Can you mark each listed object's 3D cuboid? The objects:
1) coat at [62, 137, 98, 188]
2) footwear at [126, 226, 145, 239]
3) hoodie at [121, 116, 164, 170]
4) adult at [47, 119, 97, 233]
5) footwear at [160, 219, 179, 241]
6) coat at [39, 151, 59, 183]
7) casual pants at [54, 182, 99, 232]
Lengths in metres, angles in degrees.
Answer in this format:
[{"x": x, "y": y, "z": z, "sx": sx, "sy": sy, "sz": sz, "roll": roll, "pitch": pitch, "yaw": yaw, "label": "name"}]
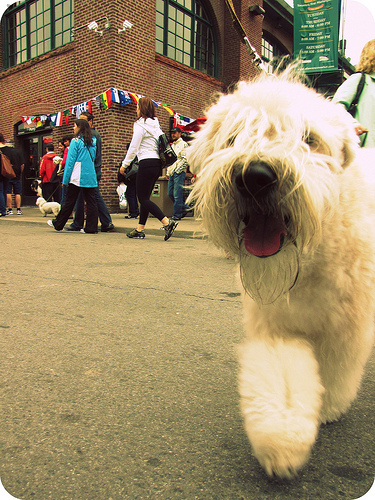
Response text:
[{"x": -1.763, "y": -1.430, "z": 8.046, "sx": 0.303, "sy": 0.823, "sz": 0.676, "roll": 7, "pitch": 9, "yaw": 37, "label": "coat"}, {"x": -0.816, "y": -0.246, "z": 7.932, "sx": 0.351, "sy": 0.140, "sz": 0.125, "roll": 4, "pitch": 9, "yaw": 18, "label": "footwear"}, {"x": -0.544, "y": -1.605, "z": 7.302, "sx": 0.703, "sy": 0.726, "sz": 0.526, "roll": -7, "pitch": 11, "yaw": -29, "label": "hoodie"}, {"x": -1.896, "y": -1.234, "z": 8.264, "sx": 0.942, "sy": 1.883, "sz": 0.763, "roll": 3, "pitch": 0, "yaw": 21, "label": "adult"}, {"x": -0.304, "y": -0.268, "z": 7.937, "sx": 0.274, "sy": 0.454, "sz": 0.157, "roll": 12, "pitch": 45, "yaw": -9, "label": "footwear"}, {"x": -3.532, "y": -2.062, "z": 12.297, "sx": 0.380, "sy": 0.730, "sz": 0.473, "roll": 12, "pitch": 23, "yaw": 17, "label": "coat"}, {"x": -1.873, "y": -0.846, "z": 8.238, "sx": 0.840, "sy": 1.160, "sz": 0.279, "roll": 7, "pitch": 27, "yaw": -14, "label": "casual pants"}]
